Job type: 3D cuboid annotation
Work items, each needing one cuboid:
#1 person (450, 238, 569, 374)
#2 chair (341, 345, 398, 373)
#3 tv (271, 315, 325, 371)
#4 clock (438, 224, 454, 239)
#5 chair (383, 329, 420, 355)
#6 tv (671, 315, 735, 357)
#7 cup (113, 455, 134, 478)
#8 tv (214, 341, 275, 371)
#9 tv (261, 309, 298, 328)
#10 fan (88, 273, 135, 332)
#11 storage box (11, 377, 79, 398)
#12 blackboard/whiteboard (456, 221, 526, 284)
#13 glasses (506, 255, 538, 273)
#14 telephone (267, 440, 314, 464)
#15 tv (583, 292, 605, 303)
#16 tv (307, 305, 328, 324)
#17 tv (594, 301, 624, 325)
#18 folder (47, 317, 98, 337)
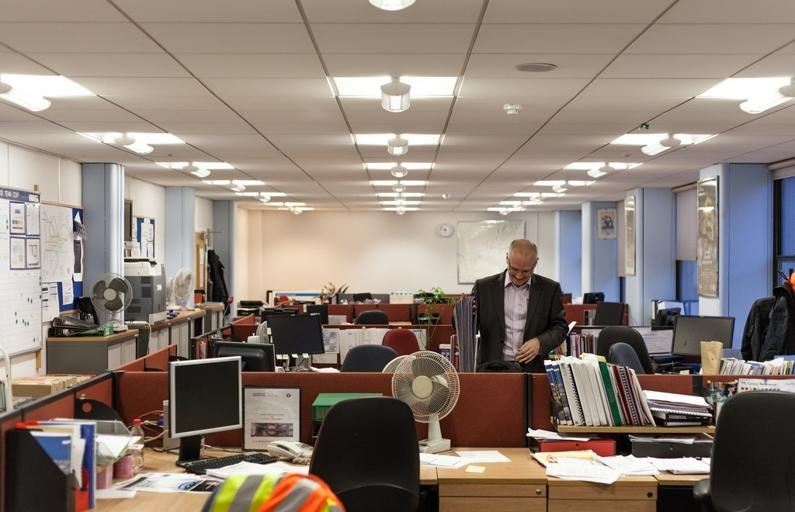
[{"bbox_3d":[0.934,0.383,4.591,0.720,1.018,0.317,-1,-3,14],"label":"person"},{"bbox_3d":[-0.273,0.886,5.348,0.342,0.343,0.307,2,-6,-3],"label":"chair"},{"bbox_3d":[-1.067,0.892,6.171,0.711,0.611,0.213,-1,-2,-4],"label":"tv"},{"bbox_3d":[1.393,-0.723,17.035,0.471,0.380,0.106,-4,6,-3],"label":"clock"},{"bbox_3d":[0.032,0.924,6.404,0.292,0.288,0.339,3,-7,-2],"label":"chair"},{"bbox_3d":[3.361,0.882,6.518,0.519,0.323,0.137,3,-5,38],"label":"tv"},{"bbox_3d":[-1.726,1.340,3.789,0.131,0.123,0.139,2,-3,0],"label":"cup"},{"bbox_3d":[-1.168,0.764,4.479,0.264,0.180,0.087,0,9,3],"label":"tv"},{"bbox_3d":[-1.469,0.789,7.224,0.220,0.263,0.400,0,0,8],"label":"tv"},{"bbox_3d":[-3.958,0.607,8.136,0.454,0.693,0.903,1,-4,-26],"label":"fan"},{"bbox_3d":[-2.379,0.898,4.063,0.545,0.107,0.340,-2,-4,20],"label":"storage box"},{"bbox_3d":[1.966,-0.092,13.623,2.115,1.792,0.075,0,0,3],"label":"blackboard/whiteboard"},{"bbox_3d":[0.966,0.060,4.616,0.240,0.186,0.137,2,6,0],"label":"glasses"},{"bbox_3d":[-0.736,1.320,4.017,0.253,0.060,0.182,12,1,13],"label":"telephone"},{"bbox_3d":[3.826,0.816,11.542,0.229,0.198,0.074,0,6,-21],"label":"tv"},{"bbox_3d":[-1.088,0.762,8.195,0.366,0.288,0.078,-1,-23,-1],"label":"tv"},{"bbox_3d":[3.194,0.871,9.038,0.403,0.514,0.404,-1,-6,40],"label":"tv"},{"bbox_3d":[-4.358,0.960,7.888,0.405,0.128,0.375,-2,-5,2],"label":"folder"}]
